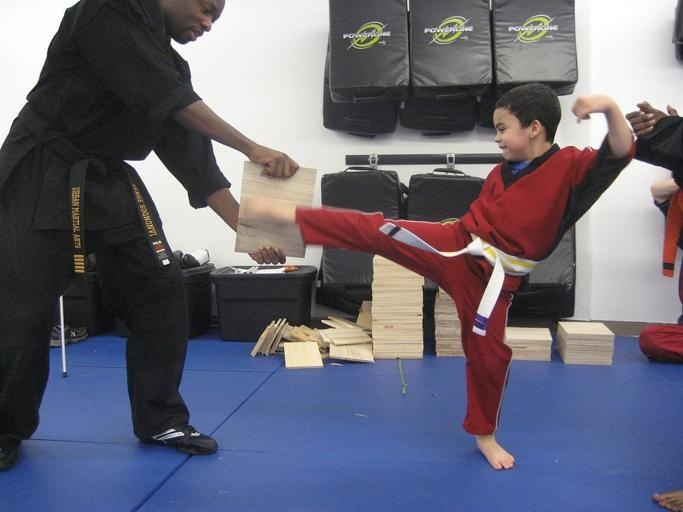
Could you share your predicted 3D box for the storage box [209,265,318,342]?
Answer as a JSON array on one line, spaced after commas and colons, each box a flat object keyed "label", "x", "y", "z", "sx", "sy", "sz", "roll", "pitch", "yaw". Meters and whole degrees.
[{"label": "storage box", "x": -0.539, "y": 0.400, "z": 4.588, "sx": 0.855, "sy": 0.514, "sz": 0.635, "roll": -2, "pitch": -4, "yaw": 18}]

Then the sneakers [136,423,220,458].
[{"label": "sneakers", "x": -0.732, "y": 0.833, "z": 2.670, "sx": 0.346, "sy": 0.133, "sz": 0.136, "roll": 2, "pitch": -6, "yaw": 3}]
